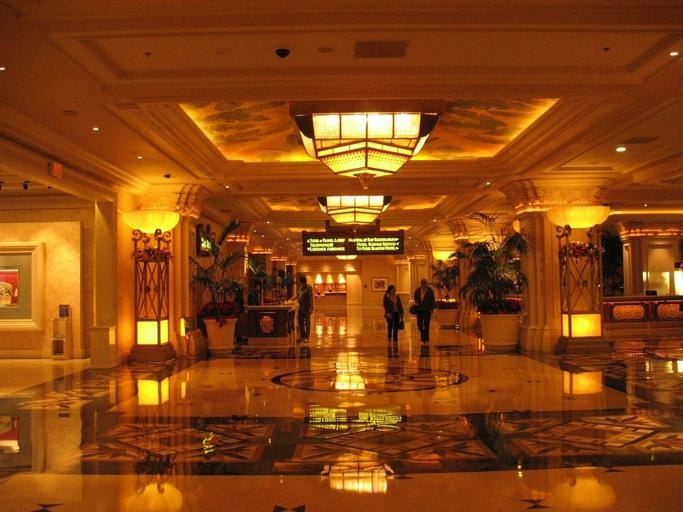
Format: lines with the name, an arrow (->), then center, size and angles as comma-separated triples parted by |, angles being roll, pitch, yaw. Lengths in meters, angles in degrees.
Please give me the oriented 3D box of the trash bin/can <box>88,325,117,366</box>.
trash bin/can -> -4.287, 1.634, 10.460 | 0.482, 0.719, 0.431 | 0, -1, -32
